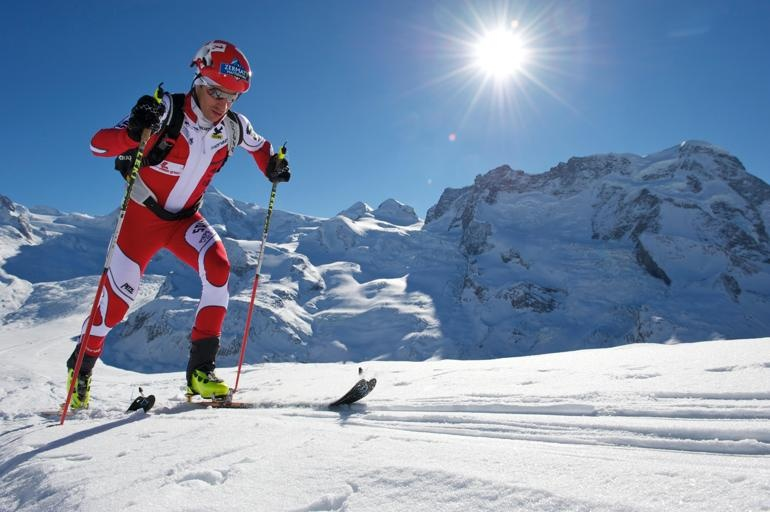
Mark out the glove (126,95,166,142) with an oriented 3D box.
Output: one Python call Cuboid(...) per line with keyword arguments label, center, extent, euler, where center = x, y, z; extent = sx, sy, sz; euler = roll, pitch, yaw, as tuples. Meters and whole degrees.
Cuboid(label="glove", center=(-3.375, -1.940, 8.652), extent=(0.538, 0.635, 0.304), euler=(-4, 7, -18))
